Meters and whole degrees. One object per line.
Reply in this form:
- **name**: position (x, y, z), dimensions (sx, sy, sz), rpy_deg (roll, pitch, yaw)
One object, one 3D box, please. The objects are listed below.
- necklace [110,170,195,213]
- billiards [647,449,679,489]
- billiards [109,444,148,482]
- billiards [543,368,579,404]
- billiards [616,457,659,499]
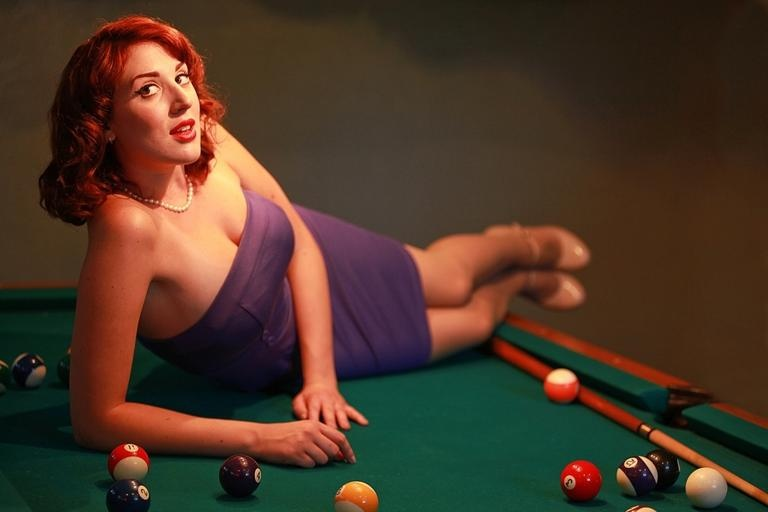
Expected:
- **necklace**: position (-0.875, -0.237, 2.846), dimensions (0.294, 0.124, 0.125), rpy_deg (-5, 17, -33)
- **billiards**: position (0.969, 0.721, 2.504), dimensions (0.118, 0.133, 0.117), rpy_deg (-6, -19, 23)
- **billiards**: position (-0.891, 0.711, 2.568), dimensions (0.121, 0.123, 0.120), rpy_deg (-39, 4, -27)
- **billiards**: position (0.741, 0.518, 3.047), dimensions (0.128, 0.132, 0.129), rpy_deg (4, 23, 23)
- **billiards**: position (0.858, 0.741, 2.477), dimensions (0.123, 0.129, 0.125), rpy_deg (21, 36, -1)
